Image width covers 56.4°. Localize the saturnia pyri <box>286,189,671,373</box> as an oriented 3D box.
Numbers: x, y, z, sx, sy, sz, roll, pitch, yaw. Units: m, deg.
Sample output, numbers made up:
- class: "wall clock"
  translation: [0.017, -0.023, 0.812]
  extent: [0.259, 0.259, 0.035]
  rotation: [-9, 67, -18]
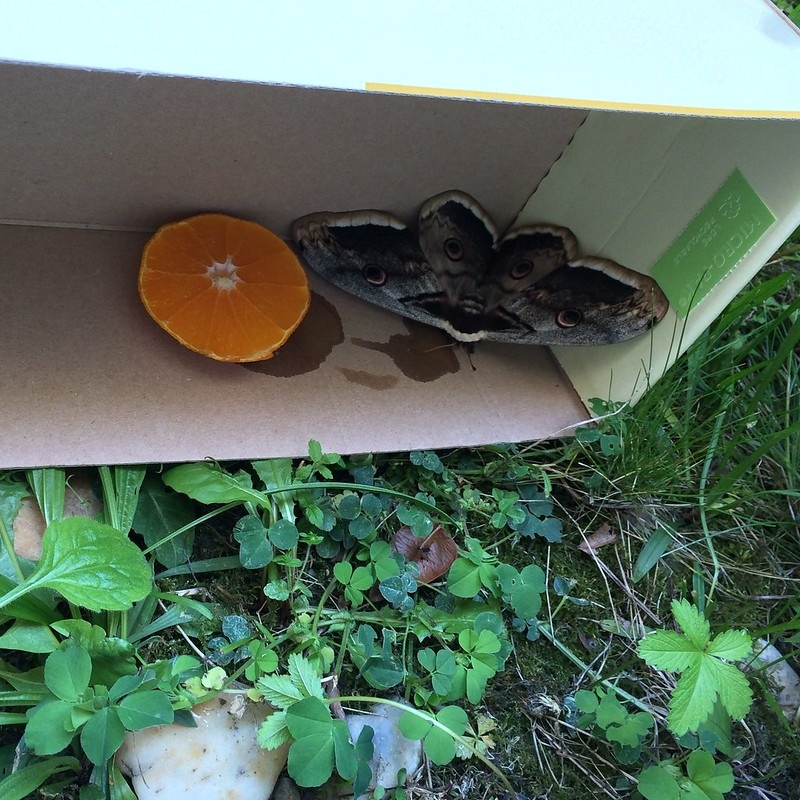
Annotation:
- class: "saturnia pyri"
  translation: [0.178, -0.231, 1.548]
  extent: [0.802, 0.268, 0.153]
  rotation: [14, 8, 6]
